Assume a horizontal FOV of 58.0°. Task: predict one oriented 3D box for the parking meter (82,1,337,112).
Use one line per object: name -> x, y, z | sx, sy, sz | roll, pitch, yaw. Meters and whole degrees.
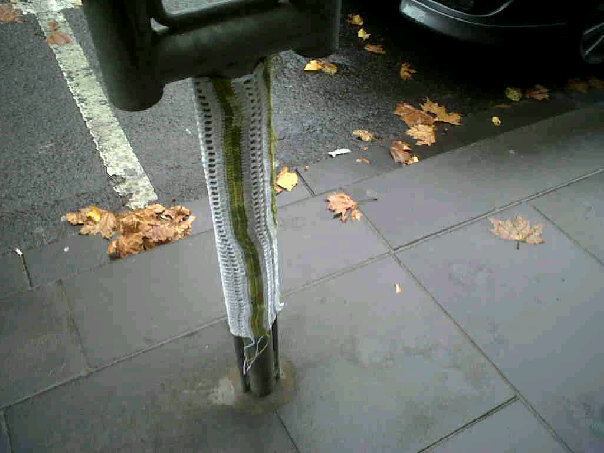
parking meter -> -0.343, -0.746, 2.133 | 0.928, 0.306, 0.346 | -18, 75, -9
